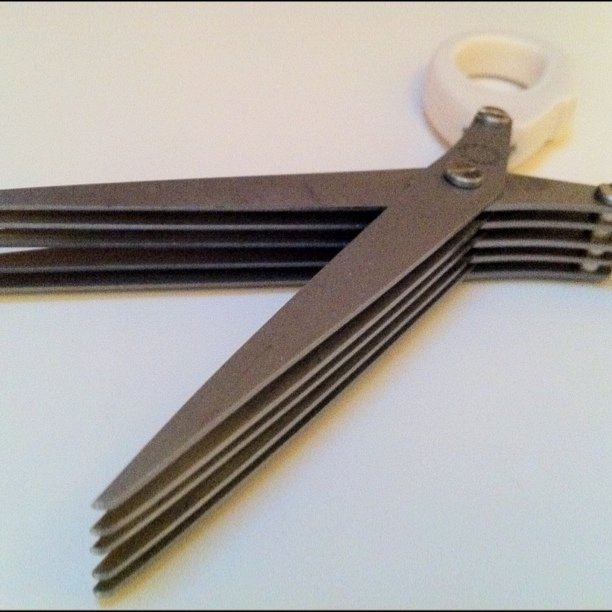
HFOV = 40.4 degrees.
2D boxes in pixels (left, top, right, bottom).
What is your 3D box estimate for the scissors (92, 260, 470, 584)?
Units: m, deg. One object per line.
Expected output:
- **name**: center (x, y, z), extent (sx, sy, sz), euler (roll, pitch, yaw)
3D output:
- **scissors**: center (-0.041, 0.094, 0.823), extent (0.551, 0.056, 0.012), euler (-30, -43, -13)
